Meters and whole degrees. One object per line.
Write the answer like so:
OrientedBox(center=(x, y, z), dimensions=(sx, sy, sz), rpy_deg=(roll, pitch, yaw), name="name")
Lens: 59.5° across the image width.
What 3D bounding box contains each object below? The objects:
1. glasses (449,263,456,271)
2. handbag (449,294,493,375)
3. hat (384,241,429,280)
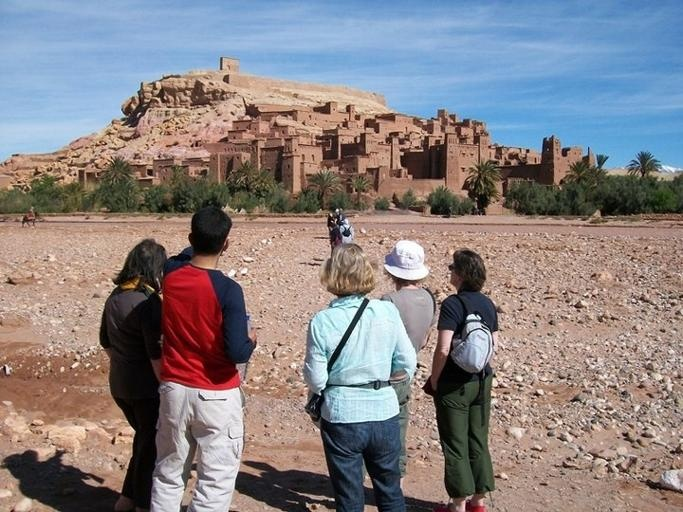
OrientedBox(center=(0.914, 0.086, 4.948), dimensions=(0.041, 0.050, 0.049), rpy_deg=(-1, -5, 6), name="glasses")
OrientedBox(center=(1.008, 0.617, 4.652), dimensions=(0.315, 0.537, 0.260), rpy_deg=(4, 13, 18), name="handbag")
OrientedBox(center=(0.525, 0.054, 4.981), dimensions=(0.291, 0.187, 0.346), rpy_deg=(0, 17, -15), name="hat")
